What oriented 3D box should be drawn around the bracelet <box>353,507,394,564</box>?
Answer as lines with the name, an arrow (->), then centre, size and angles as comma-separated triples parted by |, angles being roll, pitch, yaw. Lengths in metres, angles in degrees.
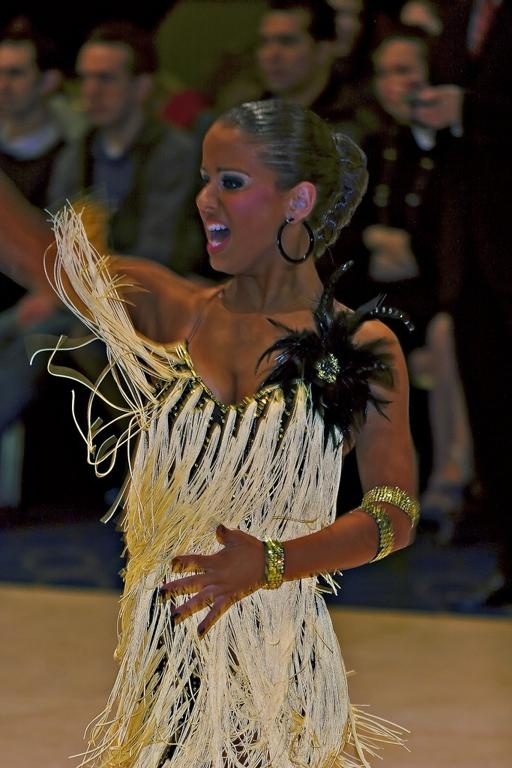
bracelet -> 0.188, 0.245, 1.353 | 0.030, 0.077, 0.067 | -4, 28, -37
